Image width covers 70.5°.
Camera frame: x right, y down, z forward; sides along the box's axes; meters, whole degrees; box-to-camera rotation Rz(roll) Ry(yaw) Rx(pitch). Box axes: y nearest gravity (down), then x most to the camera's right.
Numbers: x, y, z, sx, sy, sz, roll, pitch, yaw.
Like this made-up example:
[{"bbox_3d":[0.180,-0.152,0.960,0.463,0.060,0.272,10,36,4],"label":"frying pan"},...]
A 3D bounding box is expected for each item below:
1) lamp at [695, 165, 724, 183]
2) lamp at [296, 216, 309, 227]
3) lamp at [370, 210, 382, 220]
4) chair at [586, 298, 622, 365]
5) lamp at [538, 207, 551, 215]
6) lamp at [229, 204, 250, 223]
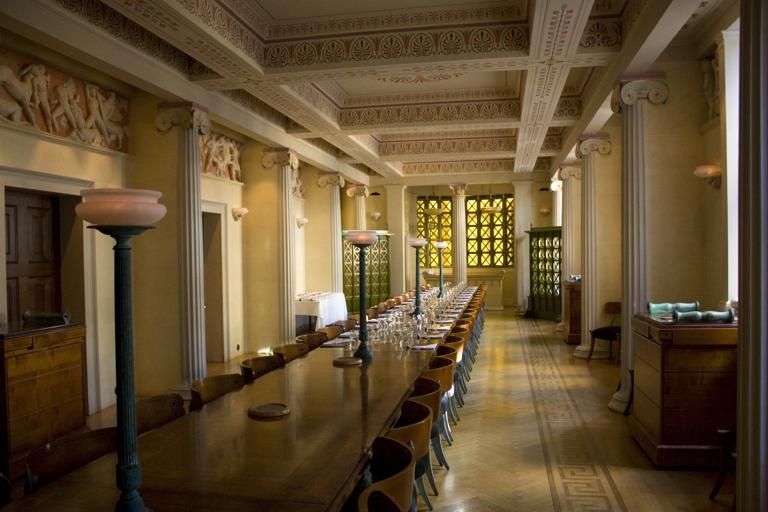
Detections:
[{"bbox_3d":[4.078,-1.025,6.779,0.274,0.200,0.499,4,7,36],"label":"lamp"},{"bbox_3d":[-2.143,-0.875,14.177,0.253,0.226,0.288,-9,-6,27],"label":"lamp"},{"bbox_3d":[-0.277,-1.341,18.185,0.287,0.234,0.295,2,-1,9],"label":"lamp"},{"bbox_3d":[3.990,1.426,9.857,0.539,1.101,1.239,3,6,22],"label":"chair"},{"bbox_3d":[5.192,-1.430,17.603,0.302,0.266,0.281,-3,6,-30],"label":"lamp"},{"bbox_3d":[-2.884,-0.824,10.991,0.319,0.277,0.488,1,6,5],"label":"lamp"}]
